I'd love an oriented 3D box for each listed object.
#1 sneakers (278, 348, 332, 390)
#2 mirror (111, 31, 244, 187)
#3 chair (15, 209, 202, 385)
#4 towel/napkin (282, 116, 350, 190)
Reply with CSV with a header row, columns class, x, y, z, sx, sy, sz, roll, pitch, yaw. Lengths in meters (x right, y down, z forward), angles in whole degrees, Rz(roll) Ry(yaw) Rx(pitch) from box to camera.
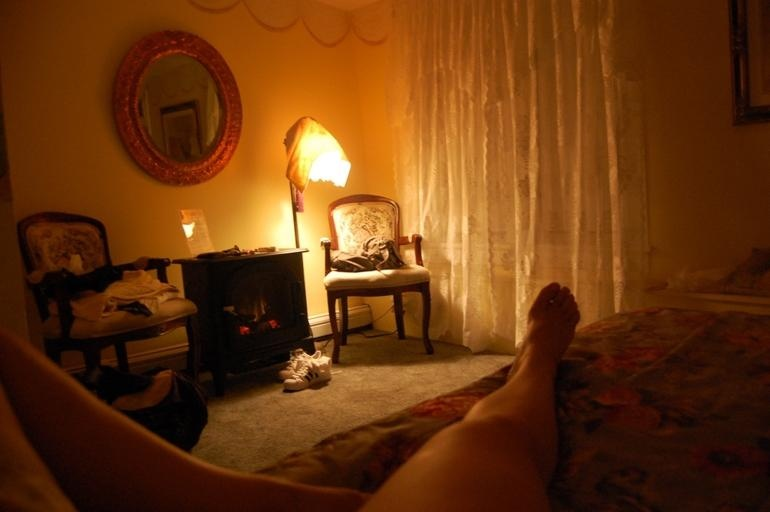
class,x,y,z,sx,sy,sz,roll,pitch,yaw
sneakers,-0.470,0.657,3.239,0.161,0.114,0.267,4,0,42
mirror,-1.279,-0.904,3.487,0.959,0.951,0.055,5,16,20
chair,-1.447,0.252,2.953,0.740,0.976,0.691,3,10,33
towel/napkin,-0.457,-0.683,3.744,0.403,0.469,0.172,-4,8,-4
